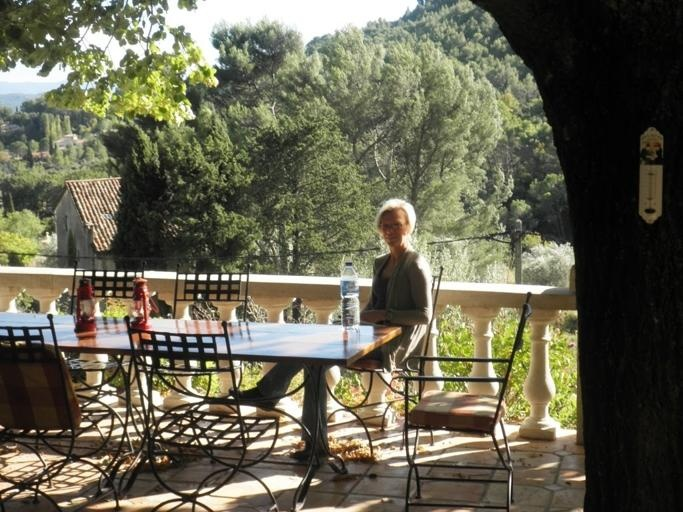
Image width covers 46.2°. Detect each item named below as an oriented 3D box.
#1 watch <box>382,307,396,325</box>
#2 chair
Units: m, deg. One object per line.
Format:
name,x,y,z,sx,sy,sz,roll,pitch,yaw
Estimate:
watch,0.321,0.396,5.465,0.076,0.088,0.110,0,-5,7
chair,-0.509,0.816,5.002,3.302,1.376,1.594,-2,-1,14
